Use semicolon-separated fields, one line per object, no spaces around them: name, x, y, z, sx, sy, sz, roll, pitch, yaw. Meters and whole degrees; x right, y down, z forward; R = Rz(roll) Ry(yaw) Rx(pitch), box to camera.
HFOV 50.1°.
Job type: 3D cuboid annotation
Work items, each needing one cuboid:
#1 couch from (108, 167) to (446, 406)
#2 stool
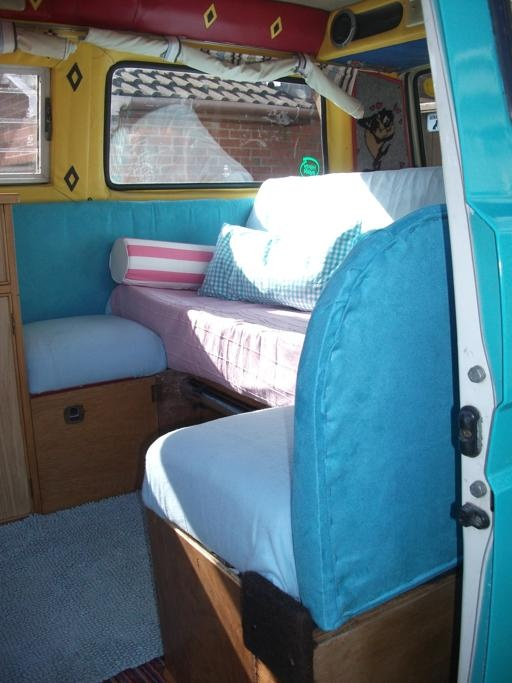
couch;0.192;-0.277;2.249;1.043;0.762;1.385;-17;14;-34
stool;-0.701;0.259;2.461;0.641;0.608;0.638;-5;9;-25
